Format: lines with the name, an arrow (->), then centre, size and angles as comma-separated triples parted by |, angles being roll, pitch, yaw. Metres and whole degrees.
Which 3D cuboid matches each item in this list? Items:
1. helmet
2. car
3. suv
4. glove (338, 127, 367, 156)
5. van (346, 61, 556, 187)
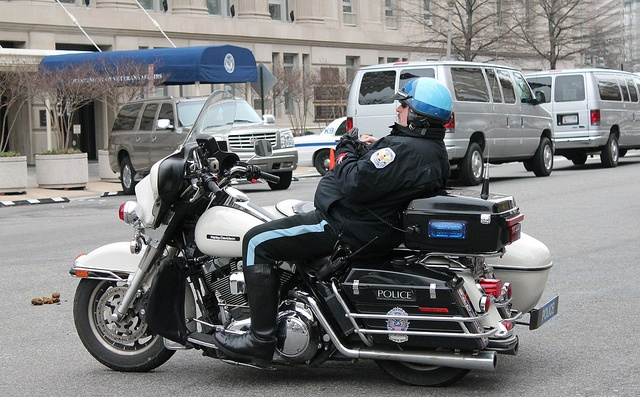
helmet -> 0.871, -0.816, 5.001 | 0.561, 0.452, 0.427 | 4, 12, -12
car -> 0.000, -2.045, 22.064 | 2.751, 1.356, 1.601 | -3, 5, 5
suv -> -4.022, -2.004, 18.391 | 5.727, 2.664, 3.434 | -1, 2, 45
glove -> 0.276, -0.479, 4.863 | 0.229, 0.237, 0.106 | -20, -7, 21
van -> 4.248, -2.481, 17.867 | 5.700, 3.001, 3.555 | -8, 8, -43
